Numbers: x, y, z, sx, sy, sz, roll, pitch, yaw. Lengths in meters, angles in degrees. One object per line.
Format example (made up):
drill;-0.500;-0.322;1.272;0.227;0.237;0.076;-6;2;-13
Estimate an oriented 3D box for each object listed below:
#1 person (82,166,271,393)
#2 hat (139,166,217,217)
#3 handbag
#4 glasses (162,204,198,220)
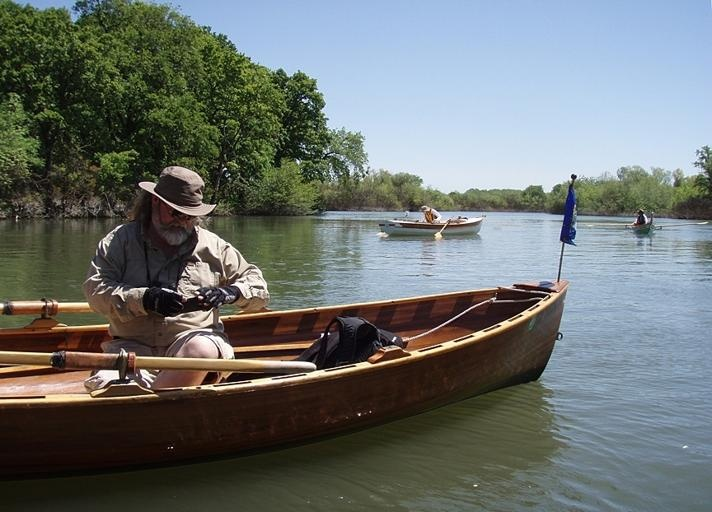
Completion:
person;-1.491;0.188;4.428;1.396;1.820;0.800;-4;13;-22
hat;-1.445;-0.526;4.491;0.522;0.426;0.454;-7;13;-35
handbag;-0.238;0.839;5.452;0.961;0.514;0.627;-1;0;-27
glasses;-1.434;-0.357;4.399;0.233;0.120;0.079;-3;12;-17
